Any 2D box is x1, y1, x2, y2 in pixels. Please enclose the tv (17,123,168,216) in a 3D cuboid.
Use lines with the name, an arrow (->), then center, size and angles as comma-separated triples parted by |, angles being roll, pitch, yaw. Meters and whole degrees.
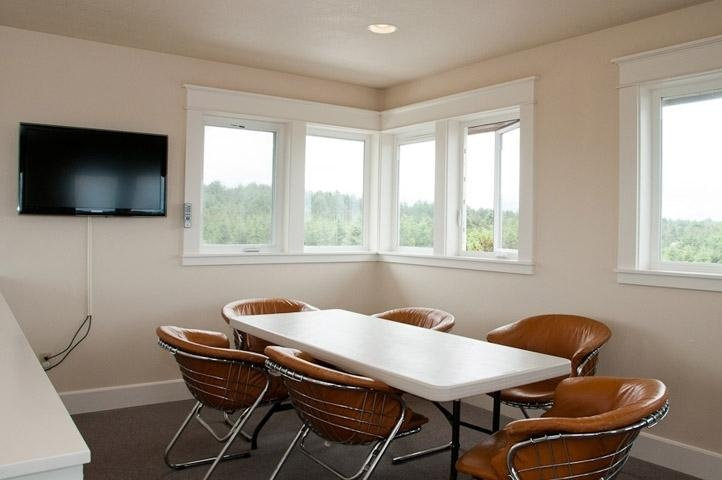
tv -> -2.396, -0.613, 4.372 | 0.919, 0.543, 0.063 | -2, 4, -28
